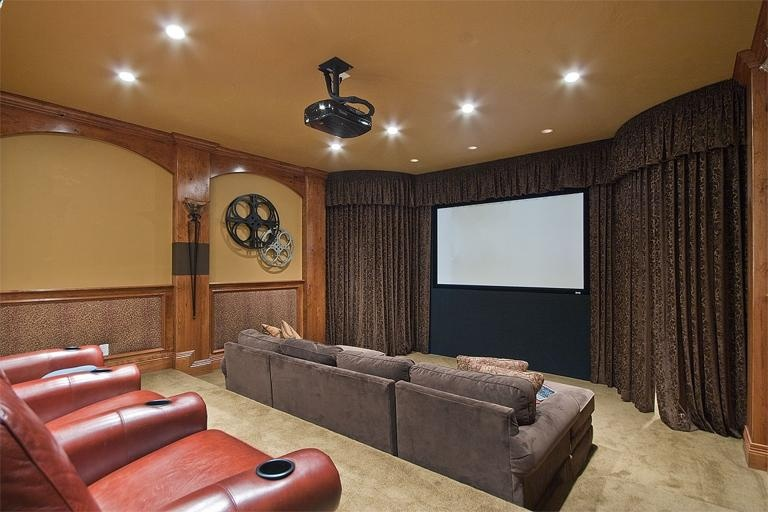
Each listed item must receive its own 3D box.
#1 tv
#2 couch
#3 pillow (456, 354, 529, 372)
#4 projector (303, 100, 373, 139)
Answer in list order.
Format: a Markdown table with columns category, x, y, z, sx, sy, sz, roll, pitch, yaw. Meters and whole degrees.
| category | x | y | z | sx | sy | sz | roll | pitch | yaw |
| --- | --- | --- | --- | --- | --- | --- | --- | --- | --- |
| tv | 1.822 | -0.187 | 6.876 | 2.190 | 1.340 | 0.180 | -1 | 0 | 35 |
| couch | 0.564 | 1.237 | 4.103 | 3.000 | 0.908 | 1.282 | 2 | 2 | 32 |
| pillow | 1.011 | 0.970 | 4.199 | 0.378 | 0.109 | 0.380 | -3 | -8 | 29 |
| projector | -0.438 | -1.372 | 4.489 | 0.565 | 0.358 | 0.396 | 0 | -1 | -40 |
